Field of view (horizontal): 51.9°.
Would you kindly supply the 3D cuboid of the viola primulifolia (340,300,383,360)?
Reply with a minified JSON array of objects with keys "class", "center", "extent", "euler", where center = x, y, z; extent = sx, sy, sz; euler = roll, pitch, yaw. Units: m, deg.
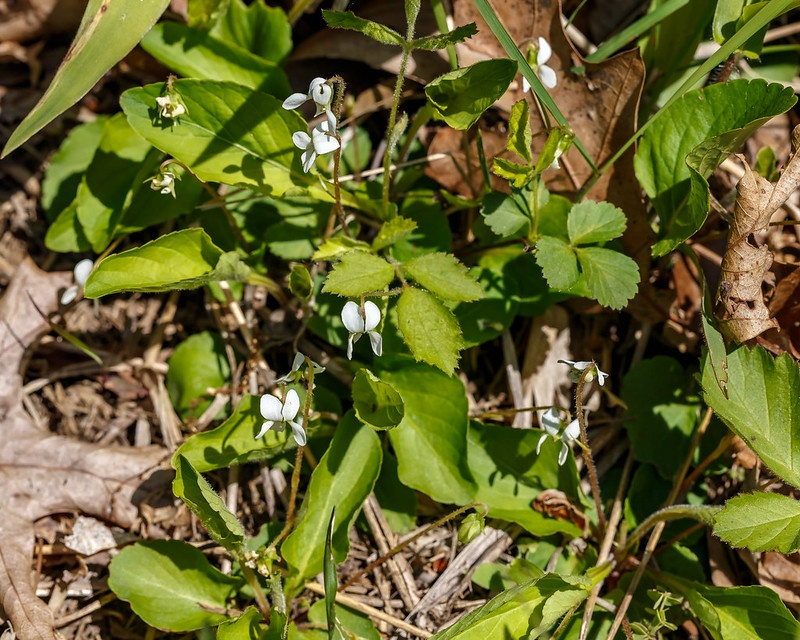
[{"class":"viola primulifolia","center":[-0.118,0.020,3.058],"extent":[0.106,0.206,0.087],"euler":[10,26,25]}]

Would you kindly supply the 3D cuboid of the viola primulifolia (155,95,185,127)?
[{"class":"viola primulifolia","center":[-0.941,-0.862,3.361],"extent":[0.123,0.150,0.101],"euler":[-1,49,-18]}]

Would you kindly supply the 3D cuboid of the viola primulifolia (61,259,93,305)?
[{"class":"viola primulifolia","center":[-1.410,-0.158,3.564],"extent":[0.043,0.191,0.113],"euler":[16,23,-31]}]
